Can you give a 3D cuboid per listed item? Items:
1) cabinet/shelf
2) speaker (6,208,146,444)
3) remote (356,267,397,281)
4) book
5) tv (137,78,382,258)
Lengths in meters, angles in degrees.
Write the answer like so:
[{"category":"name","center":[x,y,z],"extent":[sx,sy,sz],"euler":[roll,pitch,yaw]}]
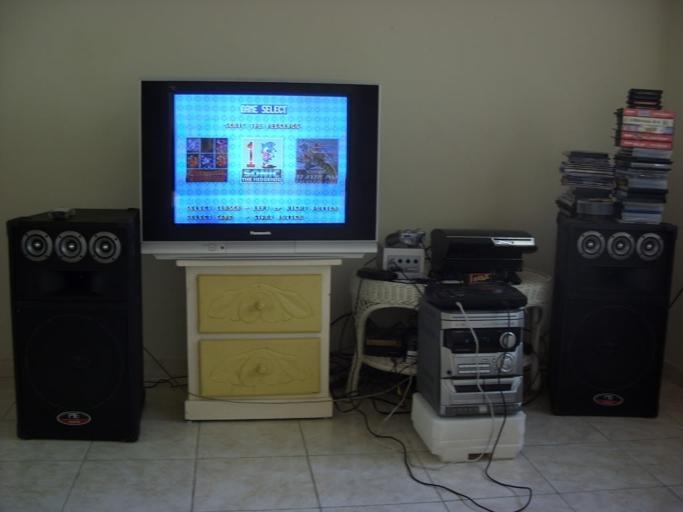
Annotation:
[{"category":"cabinet/shelf","center":[-0.447,0.463,3.424],"extent":[0.931,0.869,0.503],"euler":[0,5,-3]},{"category":"speaker","center":[-1.319,0.374,3.154],"extent":[0.589,1.111,0.199],"euler":[1,13,2]},{"category":"remote","center":[0.191,0.099,3.497],"extent":[0.095,0.031,0.125],"euler":[-5,12,-38]},{"category":"book","center":[1.477,-0.589,3.786],"extent":[0.758,0.890,0.750],"euler":[0,10,1]},{"category":"tv","center":[-0.463,-0.474,3.360],"extent":[1.030,0.668,0.345],"euler":[0,6,-3]}]
